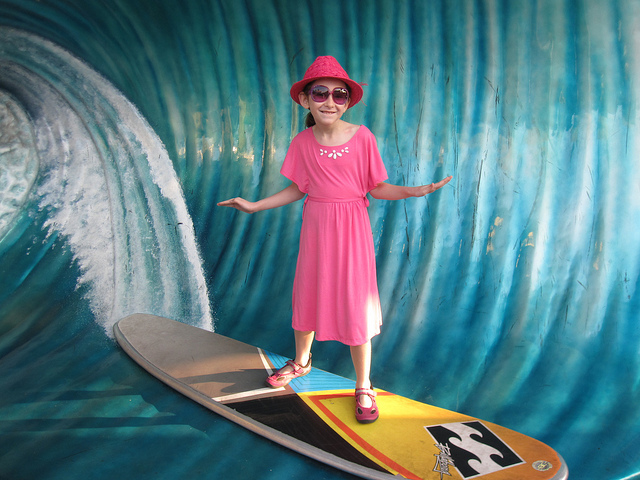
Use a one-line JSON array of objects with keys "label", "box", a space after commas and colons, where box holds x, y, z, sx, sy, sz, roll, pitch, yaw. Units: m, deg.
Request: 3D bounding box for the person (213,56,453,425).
[{"label": "person", "box": [0.110, 0.017, 3.125, 0.825, 2.274, 0.444, 1, -4, -3]}]

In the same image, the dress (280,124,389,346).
[{"label": "dress", "box": [0.077, -0.030, 3.187, 0.677, 1.412, 0.328, 1, -4, 0]}]
